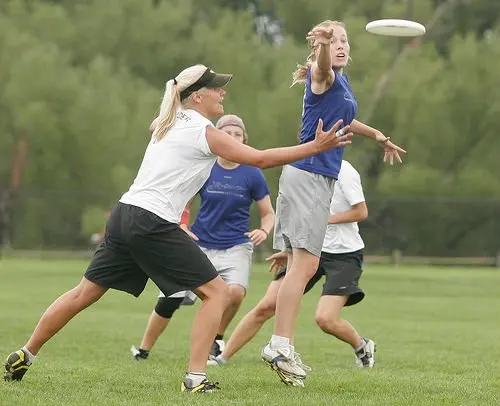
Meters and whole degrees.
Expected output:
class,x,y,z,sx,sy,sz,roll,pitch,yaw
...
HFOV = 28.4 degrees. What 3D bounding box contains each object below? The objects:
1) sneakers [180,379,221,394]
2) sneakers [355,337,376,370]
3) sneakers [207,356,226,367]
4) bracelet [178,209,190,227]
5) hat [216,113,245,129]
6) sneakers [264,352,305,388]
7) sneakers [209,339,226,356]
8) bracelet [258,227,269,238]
class,x,y,z,sx,sy,sz,roll,pitch,yaw
sneakers,-0.524,1.960,10.561,0.444,0.180,0.153,1,-3,-5
sneakers,1.389,1.794,11.675,0.207,0.384,0.157,-4,13,-7
sneakers,-0.393,1.867,11.646,0.260,0.102,0.084,8,-12,-18
bracelet,-0.778,0.178,11.538,0.123,0.182,0.129,32,-37,-9
hat,-0.251,-1.003,12.230,0.256,0.137,0.242,2,-6,-9
sneakers,0.381,1.831,10.789,0.409,0.218,0.145,38,16,-8
sneakers,-0.394,1.762,12.002,0.091,0.216,0.137,20,-5,-28
bracelet,0.160,0.351,11.784,0.027,0.093,0.097,-37,-20,-4
